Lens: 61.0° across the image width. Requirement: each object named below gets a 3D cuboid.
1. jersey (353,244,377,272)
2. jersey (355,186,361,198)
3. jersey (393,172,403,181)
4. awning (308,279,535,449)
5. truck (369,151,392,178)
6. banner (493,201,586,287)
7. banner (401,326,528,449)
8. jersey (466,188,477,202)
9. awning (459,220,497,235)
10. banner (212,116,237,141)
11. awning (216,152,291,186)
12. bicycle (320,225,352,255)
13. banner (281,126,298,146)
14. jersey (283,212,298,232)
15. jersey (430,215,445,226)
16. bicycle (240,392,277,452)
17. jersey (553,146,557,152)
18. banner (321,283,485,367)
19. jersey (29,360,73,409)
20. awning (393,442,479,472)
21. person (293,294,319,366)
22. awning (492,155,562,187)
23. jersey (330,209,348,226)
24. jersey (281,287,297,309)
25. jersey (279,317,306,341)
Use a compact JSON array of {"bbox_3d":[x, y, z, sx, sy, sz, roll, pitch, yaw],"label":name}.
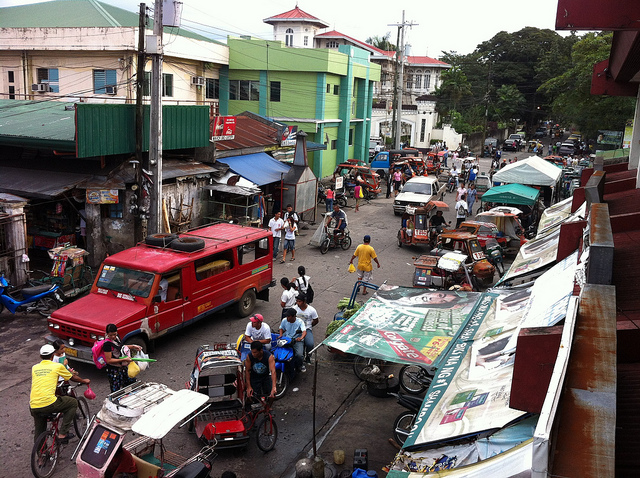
[{"bbox_3d":[1.392,0.607,17.062,0.624,0.858,0.387,-1,11,2],"label":"jersey"},{"bbox_3d":[2.027,-2.600,29.987,0.245,0.608,0.419,-1,11,1],"label":"jersey"},{"bbox_3d":[4.811,-3.878,33.868,0.766,0.747,0.414,0,-1,3],"label":"jersey"},{"bbox_3d":[1.893,1.974,9.647,3.139,0.363,3.590,-10,23,35],"label":"awning"},{"bbox_3d":[4.614,-5.725,41.067,2.023,1.994,1.432,3,22,7],"label":"truck"},{"bbox_3d":[5.993,0.016,14.506,1.381,0.859,3.578,2,31,37],"label":"banner"},{"bbox_3d":[2.183,1.932,7.837,1.701,3.963,0.162,-14,46,-6],"label":"banner"},{"bbox_3d":[7.983,-2.336,28.792,0.422,0.689,0.925,2,12,17],"label":"jersey"},{"bbox_3d":[5.947,-0.547,20.418,1.262,0.378,0.786,2,7,11],"label":"awning"},{"bbox_3d":[-4.354,-4.921,24.078,0.630,1.052,1.583,2,12,18],"label":"banner"},{"bbox_3d":[-3.044,-3.309,25.170,2.294,1.233,3.738,1,11,14],"label":"awning"},{"bbox_3d":[0.695,0.025,22.496,1.663,0.974,0.817,-6,-19,38],"label":"bicycle"},{"bbox_3d":[-1.741,-5.599,29.441,0.506,1.047,1.686,1,11,13],"label":"banner"},{"bbox_3d":[-1.150,-0.676,21.064,0.717,0.851,0.442,0,9,-4],"label":"jersey"},{"bbox_3d":[4.965,-0.900,22.851,0.628,0.473,0.341,3,10,5],"label":"jersey"},{"bbox_3d":[-1.120,3.494,10.434,0.522,1.032,0.815,-1,11,5],"label":"bicycle"},{"bbox_3d":[26.269,-10.073,60.582,0.519,0.752,0.589,1,19,13],"label":"jersey"},{"bbox_3d":[1.734,1.493,10.500,2.254,0.418,3.309,4,20,29],"label":"banner"},{"bbox_3d":[-4.849,2.540,9.730,0.663,0.724,0.888,3,20,-7],"label":"jersey"},{"bbox_3d":[1.606,3.049,7.500,0.920,0.189,0.507,-17,12,16],"label":"awning"},{"bbox_3d":[-0.357,2.150,13.021,0.590,1.654,0.468,1,8,13],"label":"person"},{"bbox_3d":[10.472,-3.409,27.429,2.874,1.321,2.900,4,12,26],"label":"awning"},{"bbox_3d":[0.704,-0.902,22.379,0.692,0.700,0.439,4,12,26],"label":"jersey"},{"bbox_3d":[-0.804,1.520,13.846,0.262,0.439,0.509,16,24,32],"label":"jersey"},{"bbox_3d":[-0.650,2.109,12.553,0.594,0.606,0.375,-1,11,4],"label":"jersey"}]
